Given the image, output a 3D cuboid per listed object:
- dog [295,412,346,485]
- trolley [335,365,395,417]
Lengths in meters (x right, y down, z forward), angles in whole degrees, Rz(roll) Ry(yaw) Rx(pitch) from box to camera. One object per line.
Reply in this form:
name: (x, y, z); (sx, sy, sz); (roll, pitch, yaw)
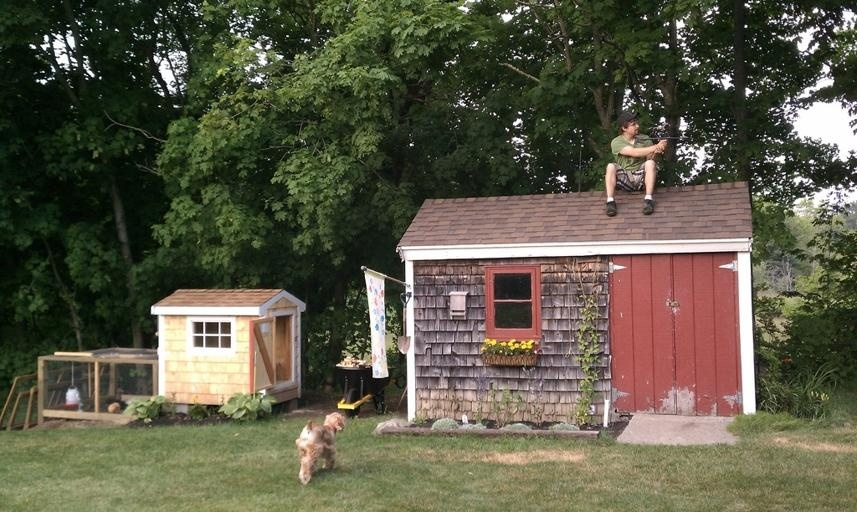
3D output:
dog: (-2.854, 4.878, 25.844); (0.729, 1.751, 1.054); (-6, -11, 39)
trolley: (-2.082, 4.117, 31.896); (1.498, 1.595, 3.197); (7, 5, 11)
